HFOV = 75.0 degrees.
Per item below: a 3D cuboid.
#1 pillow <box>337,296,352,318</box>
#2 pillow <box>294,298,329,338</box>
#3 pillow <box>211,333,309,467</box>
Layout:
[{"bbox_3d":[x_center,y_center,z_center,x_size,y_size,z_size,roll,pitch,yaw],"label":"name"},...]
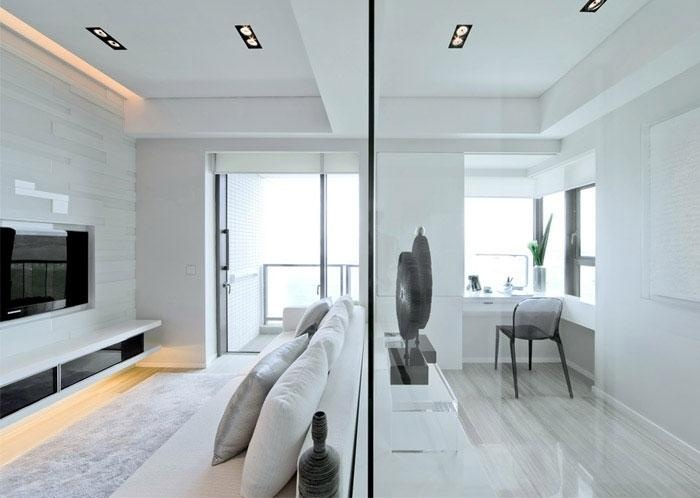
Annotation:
[{"bbox_3d":[-0.031,0.310,2.575,0.072,0.139,0.223,0,1,6],"label":"pillow"},{"bbox_3d":[-0.212,0.400,2.696,0.171,0.252,0.344,8,4,0],"label":"pillow"},{"bbox_3d":[-0.285,0.480,1.509,0.190,0.324,0.420,3,5,15],"label":"pillow"}]
